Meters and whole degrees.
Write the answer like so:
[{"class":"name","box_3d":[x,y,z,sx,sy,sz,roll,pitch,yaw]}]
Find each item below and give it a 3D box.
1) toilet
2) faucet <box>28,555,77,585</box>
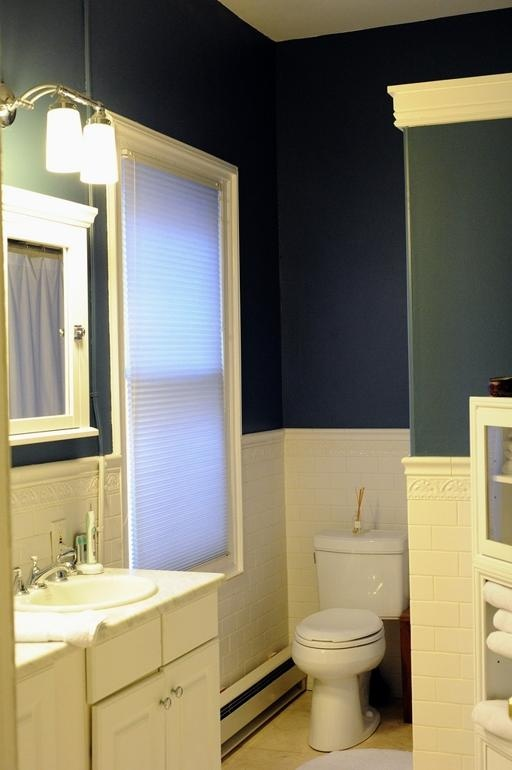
[{"class":"toilet","box_3d":[0.450,1.209,3.200,0.386,0.889,0.736,-1,-4,30]},{"class":"faucet","box_3d":[-0.592,0.545,1.900,0.139,0.064,0.045,-5,7,-31]}]
